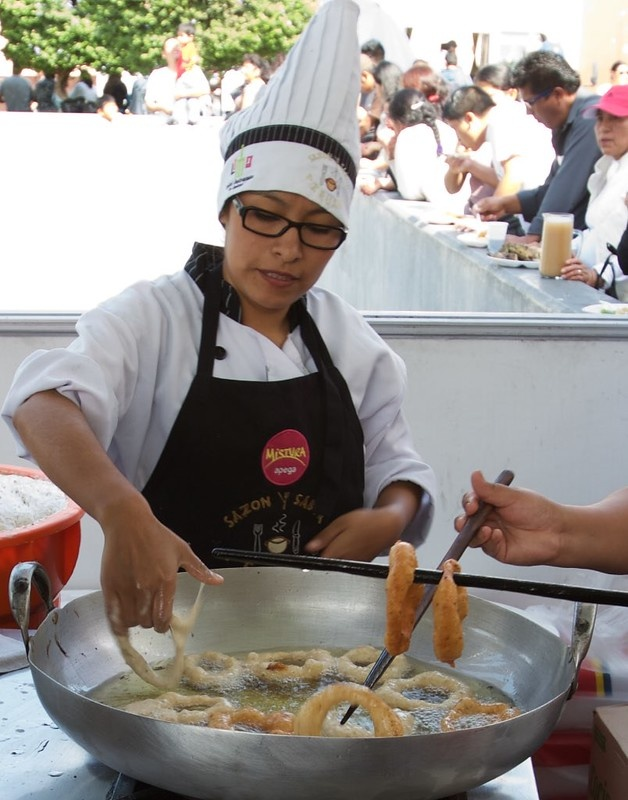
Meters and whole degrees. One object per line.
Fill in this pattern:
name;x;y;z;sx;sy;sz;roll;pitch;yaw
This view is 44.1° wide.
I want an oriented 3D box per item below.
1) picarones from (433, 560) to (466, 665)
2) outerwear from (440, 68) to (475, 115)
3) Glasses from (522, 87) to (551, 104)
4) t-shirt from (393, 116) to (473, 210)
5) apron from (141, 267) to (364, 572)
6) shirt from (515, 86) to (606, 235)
picarones;0.156;0.258;0.942;0.052;0.135;0.042;2;20;7
outerwear;0.390;-0.862;2.186;0.112;0.126;0.071;10;37;18
Glasses;0.633;-0.866;2.214;0.073;0.034;0.025;12;18;30
t-shirt;0.355;-0.690;2.302;0.205;0.225;0.089;-13;20;-18
apron;-0.110;0.026;1.588;0.535;0.585;0.347;-4;20;-23
shirt;0.727;-0.761;2.475;0.337;0.253;0.559;-2;-24;15
